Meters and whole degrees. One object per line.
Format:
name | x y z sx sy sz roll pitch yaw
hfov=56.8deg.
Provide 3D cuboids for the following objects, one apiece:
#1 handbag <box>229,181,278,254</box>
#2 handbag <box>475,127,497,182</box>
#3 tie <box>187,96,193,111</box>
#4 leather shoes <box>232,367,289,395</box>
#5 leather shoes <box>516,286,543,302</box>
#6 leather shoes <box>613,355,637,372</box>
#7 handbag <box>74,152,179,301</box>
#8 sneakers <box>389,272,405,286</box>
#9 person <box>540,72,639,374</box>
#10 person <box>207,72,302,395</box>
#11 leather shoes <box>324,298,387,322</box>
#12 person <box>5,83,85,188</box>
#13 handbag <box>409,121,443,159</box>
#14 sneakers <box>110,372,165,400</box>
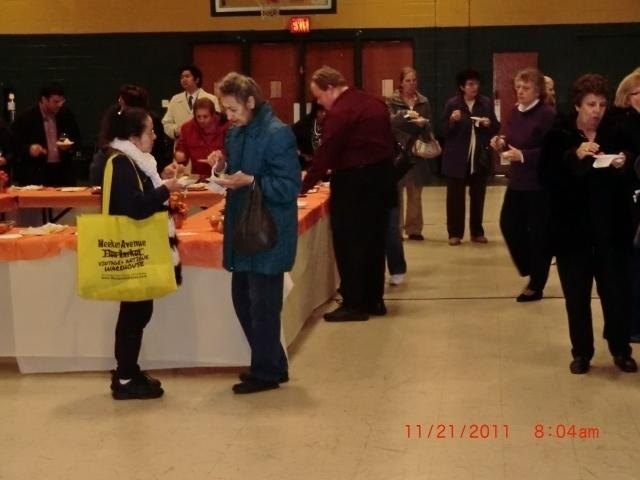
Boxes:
handbag | -0.338 -0.106 3.024 0.202 0.367 0.133 4 13 22
handbag | 1.917 -1.035 6.864 0.189 0.499 0.378 2 -6 -3
tie | -1.567 -1.662 7.194 0.117 0.170 0.039 4 7 24
leather shoes | -0.348 0.801 3.363 0.322 0.132 0.111 3 3 -10
leather shoes | 1.727 0.446 4.867 0.204 0.087 0.108 2 4 -2
leather shoes | 1.814 0.735 3.510 0.063 0.060 0.138 -2 -3 0
handbag | -1.007 -0.060 3.027 0.483 0.744 0.160 -4 12 -12
sneakers | 0.712 0.364 5.494 0.098 0.115 0.123 1 -8 6
person | 1.566 0.026 3.416 0.539 1.511 0.250 -2 12 -2
person | -0.332 0.003 3.197 0.473 1.751 0.433 -3 12 -8
leather shoes | 0.266 0.536 4.633 0.512 0.207 0.175 0 -4 -11
person | -2.804 -1.045 6.050 0.663 1.036 0.921 -8 14 -27
handbag | 1.177 -1.122 6.579 0.286 0.372 0.190 -5 13 -15
sneakers | -1.008 0.820 3.261 0.251 0.159 0.140 -2 2 -10
